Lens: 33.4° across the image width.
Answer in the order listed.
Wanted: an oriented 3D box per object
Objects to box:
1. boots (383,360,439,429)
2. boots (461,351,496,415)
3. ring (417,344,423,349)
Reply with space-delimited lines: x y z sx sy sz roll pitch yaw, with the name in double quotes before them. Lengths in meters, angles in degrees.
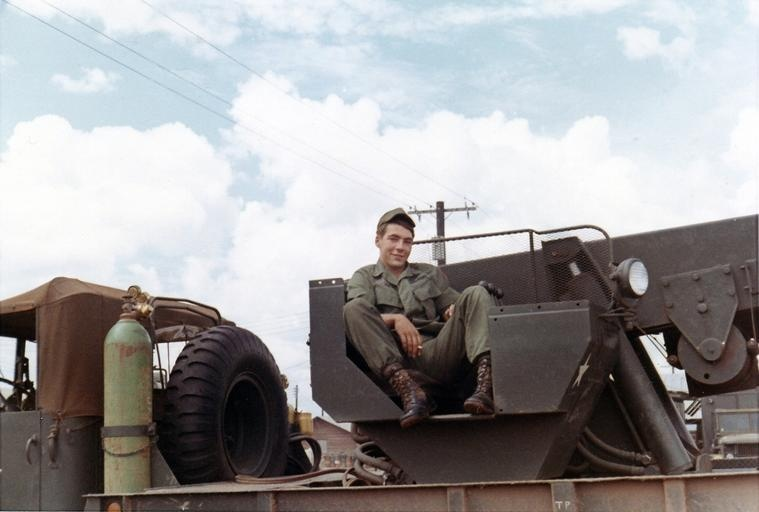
"boots" 0.185 1.084 10.017 0.199 0.540 0.521 -24 8 -7
"boots" 0.784 0.994 9.850 0.181 0.427 0.414 1 0 15
"ring" 0.318 0.733 10.300 0.032 0.034 0.034 0 2 0
